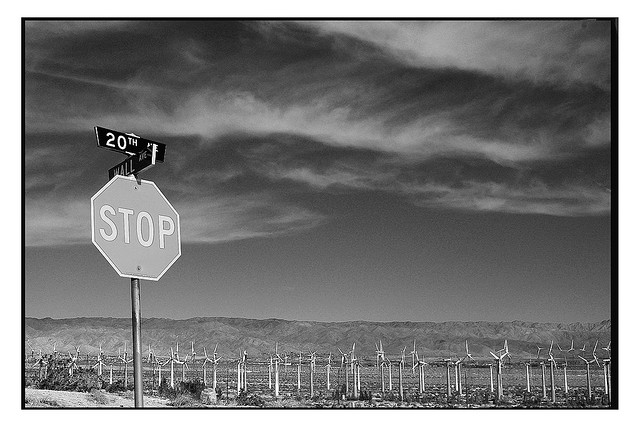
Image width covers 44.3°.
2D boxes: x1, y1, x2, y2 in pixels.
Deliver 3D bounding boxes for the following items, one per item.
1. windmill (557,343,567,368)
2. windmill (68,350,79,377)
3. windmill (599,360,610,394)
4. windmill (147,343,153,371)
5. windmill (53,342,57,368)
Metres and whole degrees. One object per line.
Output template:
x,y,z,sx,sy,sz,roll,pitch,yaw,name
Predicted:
36.003,21.092,116.392,1.106,3.683,6.390,-3,-16,16,windmill
-33.633,20.295,106.370,1.141,3.252,2.542,-6,-2,-24,windmill
36.285,20.596,99.137,0.574,4.743,15.612,-4,-16,20,windmill
-25.573,21.204,117.450,0.604,3.617,4.079,5,-15,-13,windmill
-38.201,19.892,112.296,0.550,2.820,11.108,6,-16,-17,windmill
